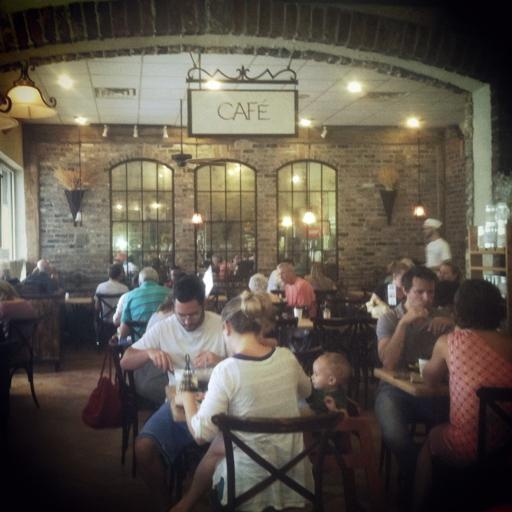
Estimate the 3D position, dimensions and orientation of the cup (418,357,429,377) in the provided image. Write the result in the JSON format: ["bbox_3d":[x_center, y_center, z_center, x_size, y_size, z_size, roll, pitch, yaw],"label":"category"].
[{"bbox_3d":[0.939,0.628,3.067,0.075,0.111,0.083,1,1,28],"label":"cup"}]

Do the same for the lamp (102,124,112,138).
[{"bbox_3d":[-2.714,-2.255,9.715,0.137,0.326,0.151,6,9,25],"label":"lamp"}]

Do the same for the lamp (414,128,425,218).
[{"bbox_3d":[3.099,-1.564,10.222,0.202,1.673,0.529,0,2,19],"label":"lamp"}]

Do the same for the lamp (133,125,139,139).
[{"bbox_3d":[-2.192,-2.289,9.785,0.100,0.251,0.226,-1,2,-10],"label":"lamp"}]

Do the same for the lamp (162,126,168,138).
[{"bbox_3d":[-1.658,-2.291,9.809,0.119,0.217,0.385,-1,2,-9],"label":"lamp"}]

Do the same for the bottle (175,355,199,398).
[{"bbox_3d":[-0.372,0.603,2.877,0.123,0.250,0.530,-1,2,-9],"label":"bottle"}]
